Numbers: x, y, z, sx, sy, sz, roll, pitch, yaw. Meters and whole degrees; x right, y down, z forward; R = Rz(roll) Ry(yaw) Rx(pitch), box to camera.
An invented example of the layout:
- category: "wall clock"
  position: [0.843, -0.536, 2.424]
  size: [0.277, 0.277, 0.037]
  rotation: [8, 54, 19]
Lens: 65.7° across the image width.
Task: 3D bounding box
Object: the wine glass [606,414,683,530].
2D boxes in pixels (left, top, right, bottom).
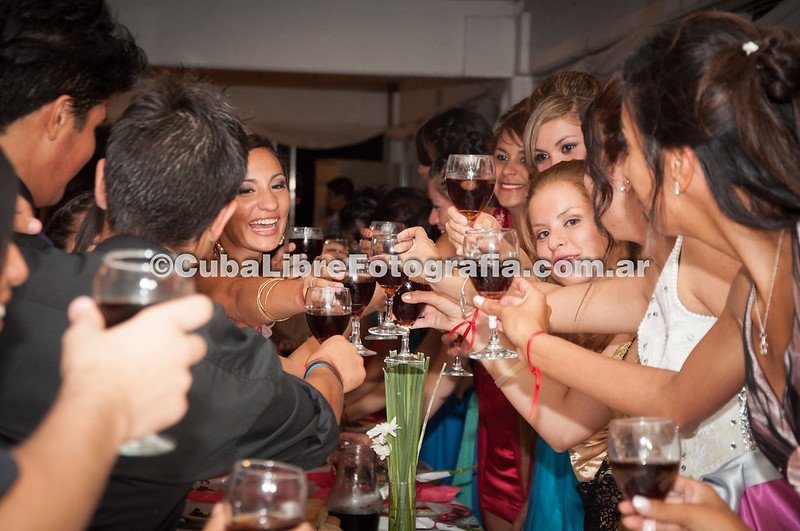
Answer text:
- category: "wine glass"
  position: [0.596, 0.480, 1.514]
  size: [0.162, 0.211, 0.101]
  rotation: [2, 3, 13]

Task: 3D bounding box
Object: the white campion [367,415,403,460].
- category: "white campion"
  position: [-0.055, 0.576, 2.077]
  size: [0.142, 0.122, 0.066]
  rotation: [-35, -21, 16]

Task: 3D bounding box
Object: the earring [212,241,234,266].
- category: "earring"
  position: [-0.828, -0.052, 2.908]
  size: [0.083, 0.090, 0.071]
  rotation: [-10, -26, 1]

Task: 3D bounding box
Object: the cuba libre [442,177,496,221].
- category: "cuba libre"
  position: [0.286, -0.241, 2.459]
  size: [0.162, 0.256, 0.154]
  rotation: [3, -5, 3]

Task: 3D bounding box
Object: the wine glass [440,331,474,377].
- category: "wine glass"
  position: [0.247, 0.390, 2.626]
  size: [0.151, 0.162, 0.144]
  rotation: [6, -9, -29]

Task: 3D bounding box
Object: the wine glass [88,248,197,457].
- category: "wine glass"
  position: [-0.579, 0.235, 1.392]
  size: [0.187, 0.541, 0.460]
  rotation: [0, 3, -26]
